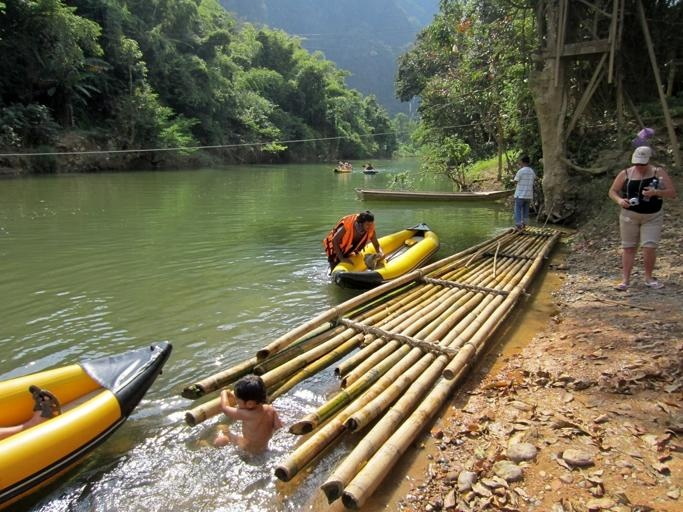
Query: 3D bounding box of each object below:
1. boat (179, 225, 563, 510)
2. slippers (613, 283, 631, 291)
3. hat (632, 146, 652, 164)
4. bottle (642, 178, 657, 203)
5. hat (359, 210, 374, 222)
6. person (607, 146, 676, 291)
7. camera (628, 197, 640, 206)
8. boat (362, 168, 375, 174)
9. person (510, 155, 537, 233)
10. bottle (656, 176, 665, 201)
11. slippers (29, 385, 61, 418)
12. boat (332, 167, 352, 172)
[{"bbox_3d":[1.181,0.700,5.470,1.534,0.320,5.417,11,19,31],"label":"boat"},{"bbox_3d":[3.420,0.378,5.740,0.081,0.078,0.229,-7,-9,44],"label":"slippers"},{"bbox_3d":[3.429,-1.141,5.395,0.160,0.211,0.286,4,14,27],"label":"hat"},{"bbox_3d":[3.491,-0.743,5.335,0.148,0.254,0.171,5,16,30],"label":"bottle"},{"bbox_3d":[0.395,-0.610,7.237,0.210,0.177,0.154,1,36,25],"label":"hat"},{"bbox_3d":[3.508,-0.423,5.575,0.658,1.696,0.438,7,17,35],"label":"person"},{"bbox_3d":[3.376,-0.616,5.451,0.100,0.111,0.055,6,16,33],"label":"camera"},{"bbox_3d":[1.575,-4.935,27.533,0.700,0.442,2.107,-1,13,4],"label":"boat"},{"bbox_3d":[3.825,-1.345,9.887,0.358,1.465,0.882,2,14,19],"label":"person"},{"bbox_3d":[3.588,-0.764,5.282,0.094,0.239,0.179,6,16,32],"label":"bottle"},{"bbox_3d":[-2.346,1.147,3.715,0.276,0.180,0.029,27,4,-2],"label":"slippers"},{"bbox_3d":[0.050,-5.136,28.537,0.983,0.284,0.765,-3,12,-3],"label":"boat"}]
